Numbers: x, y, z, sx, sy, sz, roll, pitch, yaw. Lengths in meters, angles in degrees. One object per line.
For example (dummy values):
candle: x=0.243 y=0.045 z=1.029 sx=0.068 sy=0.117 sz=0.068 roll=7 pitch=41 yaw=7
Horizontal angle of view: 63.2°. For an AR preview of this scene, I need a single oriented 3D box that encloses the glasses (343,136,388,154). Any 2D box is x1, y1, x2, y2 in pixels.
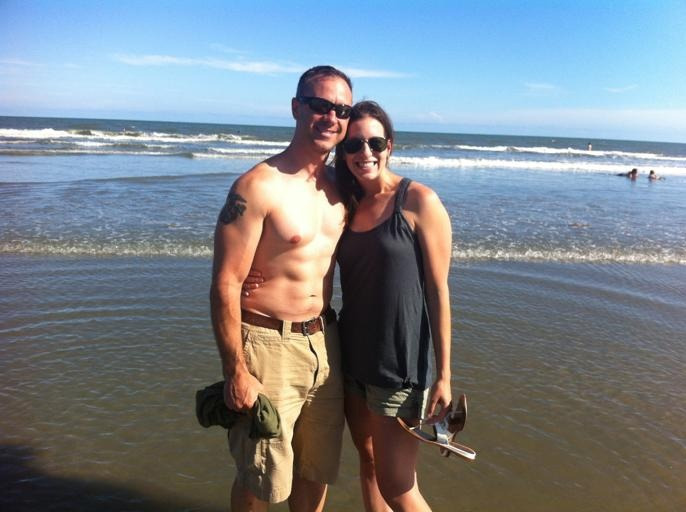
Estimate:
glasses: x=0.186 y=-0.943 z=4.769 sx=0.212 sy=0.063 sz=0.196 roll=-2 pitch=-9 yaw=1
